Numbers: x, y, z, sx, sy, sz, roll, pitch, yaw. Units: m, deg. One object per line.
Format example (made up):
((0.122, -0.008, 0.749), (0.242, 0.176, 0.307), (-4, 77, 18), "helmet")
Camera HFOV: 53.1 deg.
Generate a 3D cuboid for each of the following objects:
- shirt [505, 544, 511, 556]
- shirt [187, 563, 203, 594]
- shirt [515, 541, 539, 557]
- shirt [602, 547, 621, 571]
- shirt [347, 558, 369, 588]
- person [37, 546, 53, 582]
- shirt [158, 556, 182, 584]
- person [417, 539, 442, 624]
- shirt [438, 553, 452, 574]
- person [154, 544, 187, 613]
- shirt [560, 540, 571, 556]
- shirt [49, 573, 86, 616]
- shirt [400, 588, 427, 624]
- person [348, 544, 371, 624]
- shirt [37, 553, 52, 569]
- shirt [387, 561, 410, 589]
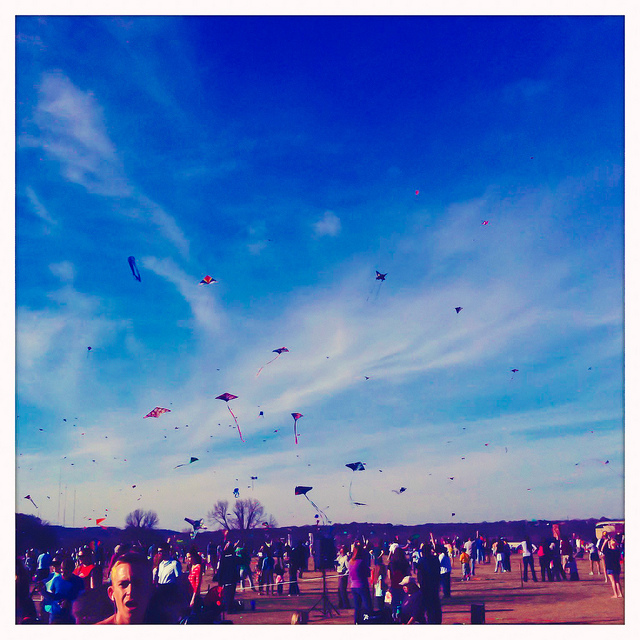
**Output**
((6.000, 7.336, 20.412), (0.067, 0.366, 1.120), (-11, -24, 18), "shirt")
((-1.929, 4.014, 9.906), (0.187, 0.422, 0.524), (2, -23, -13), "shirt")
((5.705, 6.248, 17.465), (0.307, 0.401, 0.677), (-6, -23, 7), "shirt")
((6.313, 5.169, 13.829), (0.277, 0.472, 0.533), (-16, -26, 29), "shirt")
((0.681, 4.443, 11.221), (0.328, 0.481, 0.397), (-5, -22, 5), "shirt")
((-6.466, 5.791, 14.989), (0.271, 0.625, 0.924), (6, -24, -21), "person")
((-2.321, 3.898, 9.935), (0.595, 0.314, 0.270), (-18, -26, 32), "shirt")
((1.970, 4.746, 11.575), (0.500, 1.559, 0.485), (0, 5, 11), "person")
((2.854, 5.531, 14.545), (0.228, 0.442, 0.442), (-7, -22, 8), "shirt")
((-2.291, 4.117, 9.915), (0.383, 1.212, 0.360), (-4, 3, 19), "person")
((7.145, 6.619, 18.558), (0.296, 0.404, 0.511), (-11, -23, 17), "shirt")
((-3.762, 4.069, 9.617), (0.566, 0.670, 0.374), (0, 3, -9), "shirt")
((1.352, 4.133, 9.210), (0.322, 0.455, 0.179), (-5, -22, 3), "shirt")
((0.714, 4.613, 11.244), (0.343, 1.254, 0.774), (-4, -22, 1), "person")
((-6.458, 5.671, 15.002), (0.251, 0.331, 0.440), (5, -24, -19), "shirt")
((1.350, 4.345, 10.892), (0.308, 0.436, 0.616), (-3, -22, 0), "shirt")
